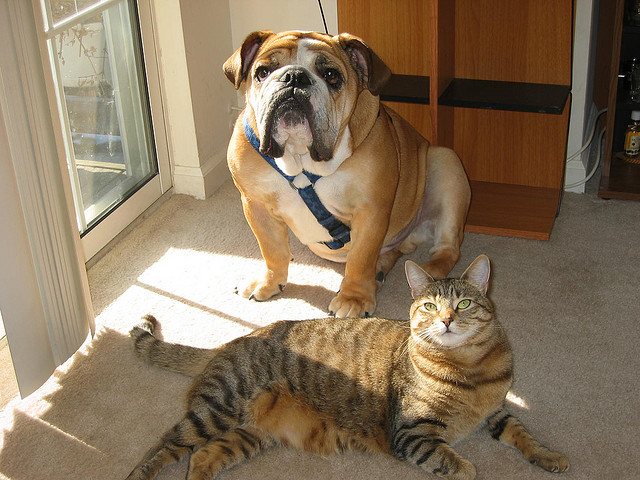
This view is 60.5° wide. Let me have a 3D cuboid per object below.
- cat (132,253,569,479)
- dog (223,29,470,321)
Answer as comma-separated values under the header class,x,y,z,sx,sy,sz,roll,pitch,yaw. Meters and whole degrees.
class,x,y,z,sx,sy,sz,roll,pitch,yaw
cat,0.059,0.477,1.756,1.004,0.512,0.791,1,16,11
dog,0.107,-0.369,2.554,0.838,1.216,1.360,8,22,26
